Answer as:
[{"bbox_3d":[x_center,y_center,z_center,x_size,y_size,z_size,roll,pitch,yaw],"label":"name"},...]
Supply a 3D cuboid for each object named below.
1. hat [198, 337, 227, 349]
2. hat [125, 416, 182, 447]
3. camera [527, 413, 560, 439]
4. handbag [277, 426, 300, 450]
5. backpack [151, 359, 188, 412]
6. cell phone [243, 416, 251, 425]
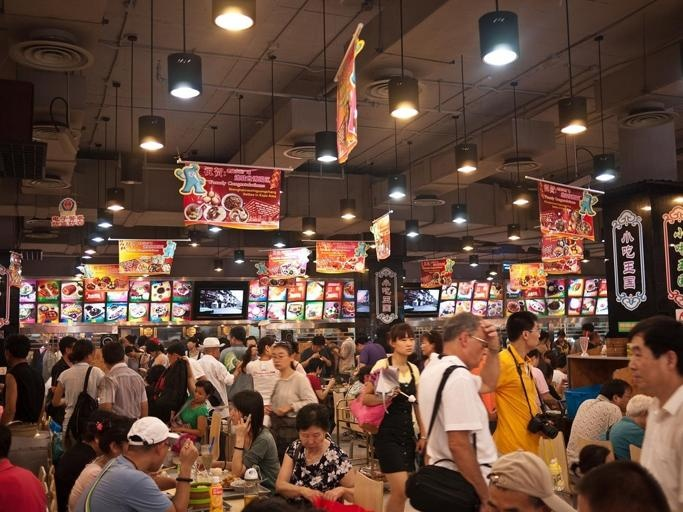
[{"bbox_3d":[-1.996,1.318,9.049,0.351,0.121,0.311,5,-10,-11],"label":"hat"},{"bbox_3d":[-1.393,1.267,4.354,0.299,0.151,0.209,1,-1,-25],"label":"hat"},{"bbox_3d":[1.716,1.451,5.007,0.224,0.120,0.287,27,26,34],"label":"camera"},{"bbox_3d":[-0.577,1.973,6.554,0.375,0.252,0.208,-1,-4,-3],"label":"handbag"},{"bbox_3d":[-2.313,1.708,8.108,0.429,0.722,0.809,12,-2,-19],"label":"backpack"},{"bbox_3d":[-0.860,1.486,5.377,0.060,0.099,0.034,11,-13,-27],"label":"cell phone"}]
